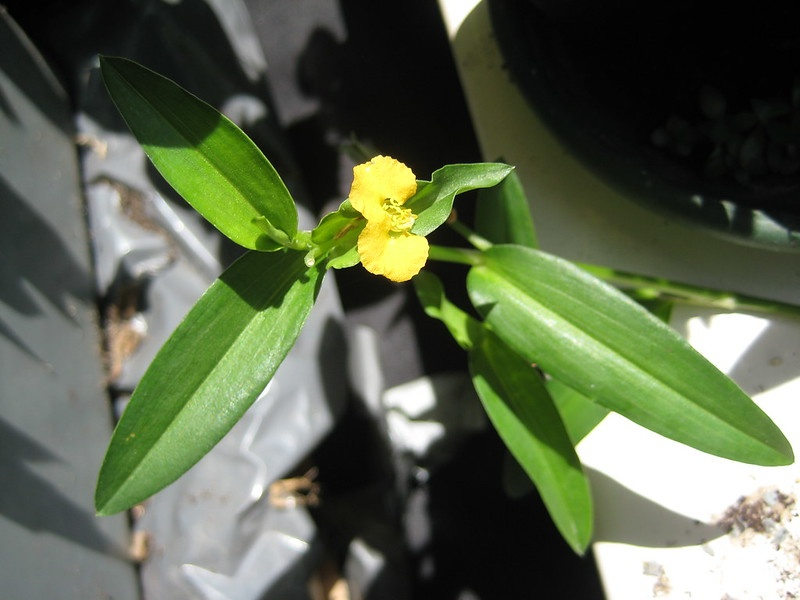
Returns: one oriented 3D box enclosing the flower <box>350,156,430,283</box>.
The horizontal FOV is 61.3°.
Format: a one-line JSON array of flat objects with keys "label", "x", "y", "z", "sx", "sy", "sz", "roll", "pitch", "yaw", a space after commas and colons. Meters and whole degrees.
[{"label": "flower", "x": -0.016, "y": -0.111, "z": 0.918, "sx": 0.072, "sy": 0.123, "sz": 0.140, "roll": -1, "pitch": -41, "yaw": 37}]
